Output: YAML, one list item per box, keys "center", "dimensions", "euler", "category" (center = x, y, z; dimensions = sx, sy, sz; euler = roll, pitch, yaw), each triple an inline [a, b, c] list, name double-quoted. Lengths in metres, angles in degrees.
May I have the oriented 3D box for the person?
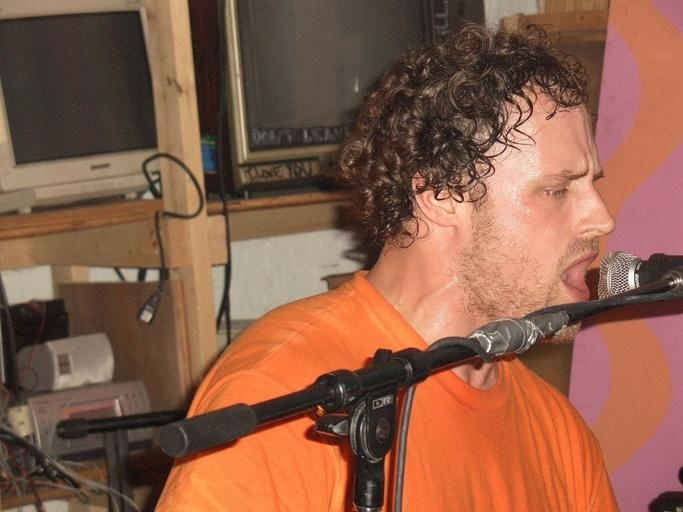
- center: [0.208, 0.084, 2.049]
  dimensions: [1.215, 1.382, 0.441]
  euler: [-8, 3, -21]
  category: "person"
